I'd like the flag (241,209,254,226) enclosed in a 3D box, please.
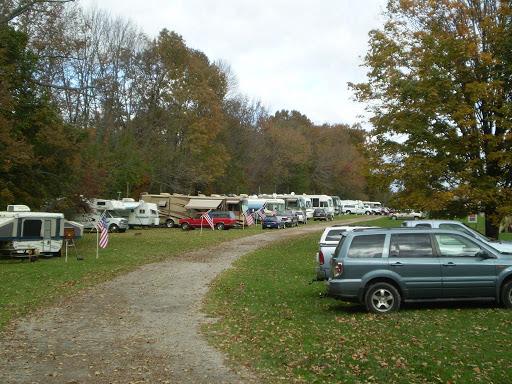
[{"bbox_3d":[-0.995,2.662,47.804,0.175,1.499,1.642,3,-28,-40],"label":"flag"}]

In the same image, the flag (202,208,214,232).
[{"bbox_3d":[-4.442,2.646,42.627,0.177,1.843,1.834,4,19,23],"label":"flag"}]

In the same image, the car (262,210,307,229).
[{"bbox_3d":[2.836,2.921,51.208,2.773,1.926,7.169,-1,0,14],"label":"car"}]

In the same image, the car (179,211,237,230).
[{"bbox_3d":[-4.952,3.022,46.279,5.170,1.742,2.305,2,0,8],"label":"car"}]
